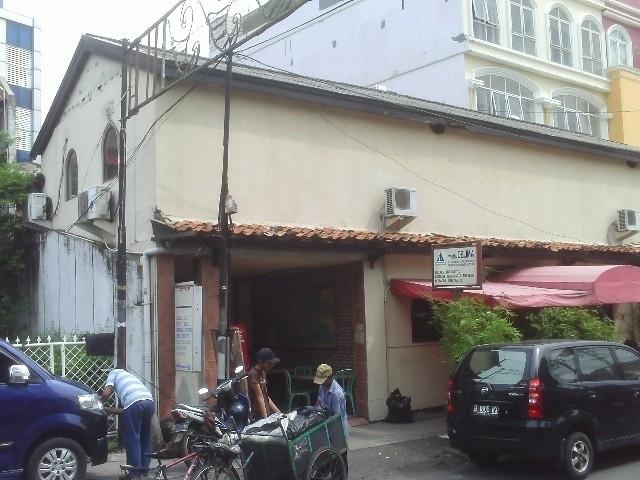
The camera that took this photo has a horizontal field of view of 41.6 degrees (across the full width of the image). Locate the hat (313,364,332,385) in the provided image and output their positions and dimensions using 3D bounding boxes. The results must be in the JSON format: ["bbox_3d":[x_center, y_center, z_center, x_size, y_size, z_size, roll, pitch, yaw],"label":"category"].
[{"bbox_3d":[0.095,2.434,15.373,0.282,0.250,0.420,2,23,32],"label":"hat"}]

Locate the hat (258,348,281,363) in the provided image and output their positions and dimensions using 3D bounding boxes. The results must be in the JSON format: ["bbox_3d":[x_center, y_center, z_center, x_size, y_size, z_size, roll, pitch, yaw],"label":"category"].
[{"bbox_3d":[-0.996,2.264,16.163,0.446,0.259,0.328,8,4,4],"label":"hat"}]

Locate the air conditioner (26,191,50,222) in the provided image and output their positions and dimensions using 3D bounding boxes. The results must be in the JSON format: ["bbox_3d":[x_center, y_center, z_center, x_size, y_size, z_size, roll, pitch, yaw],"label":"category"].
[{"bbox_3d":[-7.975,-0.928,23.757,0.431,0.799,0.839,-3,-3,17],"label":"air conditioner"}]
